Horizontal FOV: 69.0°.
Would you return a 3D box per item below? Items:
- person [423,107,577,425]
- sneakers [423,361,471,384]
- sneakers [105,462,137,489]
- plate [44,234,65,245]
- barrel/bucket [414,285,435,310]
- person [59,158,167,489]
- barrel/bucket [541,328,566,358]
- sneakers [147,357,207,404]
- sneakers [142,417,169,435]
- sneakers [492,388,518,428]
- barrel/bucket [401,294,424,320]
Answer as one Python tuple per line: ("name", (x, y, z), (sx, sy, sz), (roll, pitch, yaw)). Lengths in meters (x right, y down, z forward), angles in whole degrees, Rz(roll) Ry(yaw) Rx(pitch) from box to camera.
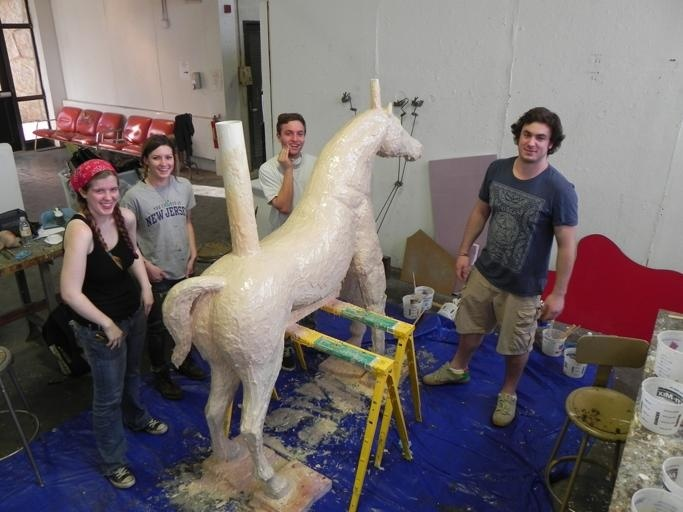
("person", (1.238, 0.090, 3.716), (0.810, 2.420, 0.480), (18, 28, 32))
("sneakers", (0.838, 0.961, 4.110), (0.419, 0.217, 0.163), (-1, 28, 3))
("sneakers", (-1.437, 1.456, 3.254), (0.239, 0.111, 0.093), (8, 20, 38))
("plate", (-2.459, -0.166, 4.239), (0.116, 0.042, 0.119), (-16, 50, -29))
("barrel/bucket", (0.845, 0.410, 5.057), (0.178, 0.222, 0.204), (-7, 26, -1))
("person", (-1.482, 0.454, 3.180), (0.382, 2.021, 0.528), (5, 19, 12))
("barrel/bucket", (1.880, 0.742, 4.396), (0.208, 0.192, 0.208), (0, 18, 0))
("sneakers", (-1.325, 0.989, 3.999), (0.283, 0.183, 0.358), (29, 36, 11))
("sneakers", (-1.386, 1.241, 3.661), (0.208, 0.099, 0.095), (2, 23, 13))
("sneakers", (1.231, 1.157, 3.738), (0.113, 0.128, 0.297), (5, 28, 25))
("barrel/bucket", (0.701, 0.494, 4.879), (0.184, 0.229, 0.215), (-3, 31, 1))
